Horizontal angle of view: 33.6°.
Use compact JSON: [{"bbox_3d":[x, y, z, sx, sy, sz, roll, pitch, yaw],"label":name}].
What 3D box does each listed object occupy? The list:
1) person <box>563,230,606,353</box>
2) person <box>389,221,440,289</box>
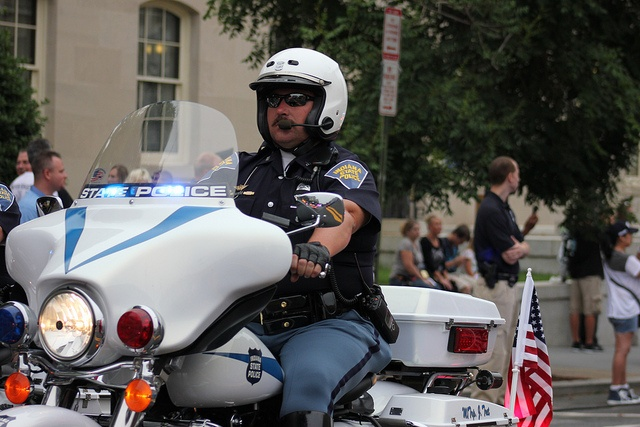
[{"bbox_3d":[3.988,1.258,16.077,0.582,1.421,0.866,2,-1,13],"label":"person"},{"bbox_3d":[1.293,0.628,15.448,0.896,1.233,0.751,2,2,9],"label":"person"}]
